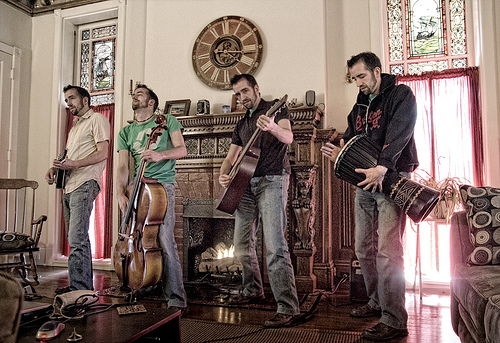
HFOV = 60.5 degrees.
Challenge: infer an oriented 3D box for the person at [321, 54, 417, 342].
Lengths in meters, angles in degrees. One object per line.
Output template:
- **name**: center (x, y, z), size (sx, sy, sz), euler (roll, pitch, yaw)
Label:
- **person**: center (1.036, 0.173, 3.515), size (0.549, 2.227, 0.710), euler (-3, 8, -25)

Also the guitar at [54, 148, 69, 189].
- **guitar**: center (-1.779, -0.011, 4.020), size (0.104, 0.333, 0.188), euler (1, 5, -32)

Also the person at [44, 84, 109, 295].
- **person**: center (-1.583, 0.132, 4.098), size (0.475, 1.879, 0.674), euler (-2, 7, -16)

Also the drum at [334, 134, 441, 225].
- **drum**: center (1.053, 0.026, 3.370), size (0.801, 0.407, 0.462), euler (36, 55, 20)

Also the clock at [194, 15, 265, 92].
- **clock**: center (-0.202, -1.330, 4.886), size (0.853, 0.909, 0.104), euler (-19, -13, 12)

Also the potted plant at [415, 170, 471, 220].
- **potted plant**: center (1.935, 0.251, 4.439), size (0.593, 0.445, 0.486), euler (-6, 0, 35)

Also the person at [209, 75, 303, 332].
- **person**: center (0.092, 0.239, 3.660), size (0.748, 2.100, 0.699), euler (1, 7, 8)
